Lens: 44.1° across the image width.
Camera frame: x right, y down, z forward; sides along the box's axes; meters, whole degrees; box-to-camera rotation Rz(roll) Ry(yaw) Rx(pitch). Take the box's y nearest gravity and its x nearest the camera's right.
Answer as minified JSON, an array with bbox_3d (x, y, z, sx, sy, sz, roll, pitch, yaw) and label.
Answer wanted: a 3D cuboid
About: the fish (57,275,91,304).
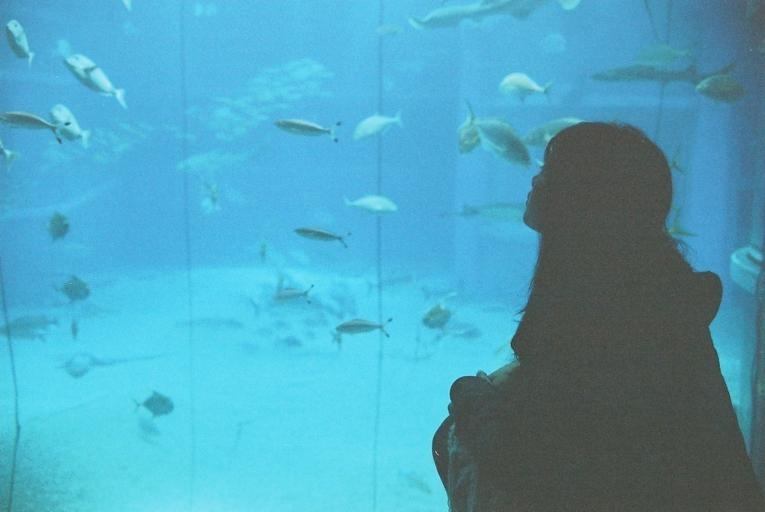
[{"bbox_3d":[-3.159,0.345,9.706,0.294,0.259,0.093,7,-15,-23],"label":"fish"}]

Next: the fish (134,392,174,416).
[{"bbox_3d":[-2.298,1.529,9.613,0.285,0.276,0.061,-11,-45,-39],"label":"fish"}]

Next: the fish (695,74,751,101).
[{"bbox_3d":[3.279,-1.640,9.140,0.411,0.191,0.333,2,-14,-8],"label":"fish"}]

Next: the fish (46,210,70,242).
[{"bbox_3d":[-3.289,-0.288,9.587,0.229,0.257,0.076,-7,8,-29],"label":"fish"}]
